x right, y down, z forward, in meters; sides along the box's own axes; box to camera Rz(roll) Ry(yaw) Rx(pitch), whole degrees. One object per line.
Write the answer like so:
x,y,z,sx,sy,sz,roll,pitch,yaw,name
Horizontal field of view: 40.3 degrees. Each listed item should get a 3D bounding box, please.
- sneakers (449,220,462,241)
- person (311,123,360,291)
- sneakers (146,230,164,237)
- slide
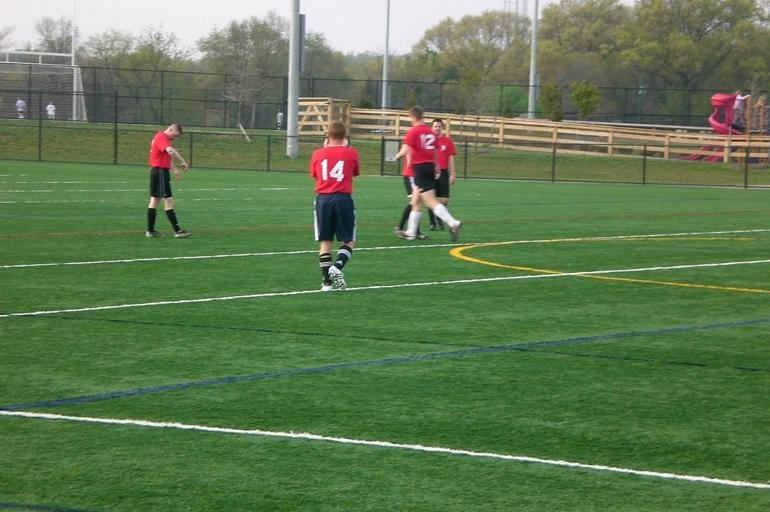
1.150,-0.387,17.321,0.280,0.380,0.144,2,50,9,sneakers
-0.675,-0.654,13.552,0.592,2.149,0.872,-1,8,-3,person
-4.008,-0.379,17.948,0.338,0.075,0.121,-1,-14,-19,sneakers
16.649,-6.445,52.238,2.254,3.405,6.128,2,6,18,slide
